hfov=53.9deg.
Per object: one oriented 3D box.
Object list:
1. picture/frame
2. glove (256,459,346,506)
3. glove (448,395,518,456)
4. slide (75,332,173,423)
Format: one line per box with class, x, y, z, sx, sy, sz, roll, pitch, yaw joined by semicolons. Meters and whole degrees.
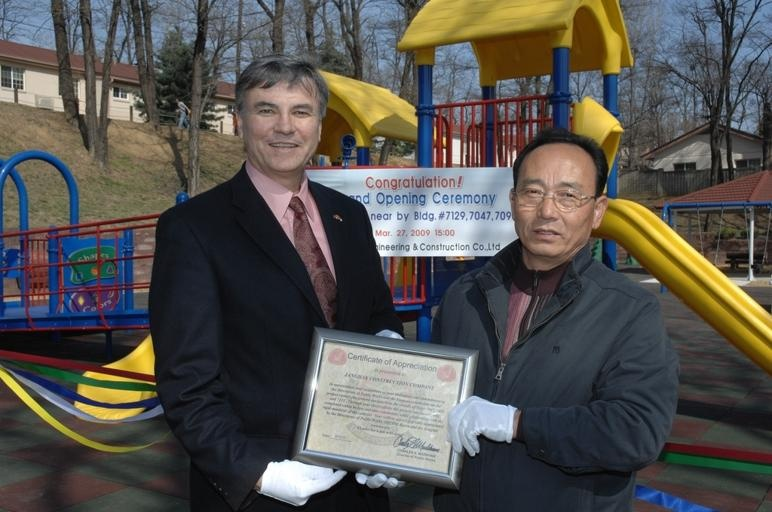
picture/frame;0.004;1.011;5.117;1.200;0.967;0.278;2;9;5
glove;-0.557;1.507;5.070;0.581;0.260;0.112;0;9;-5
glove;0.653;1.125;5.029;0.460;0.365;0.109;2;9;6
slide;-3.861;1.382;10.093;0.997;1.553;1.896;-2;-8;10
